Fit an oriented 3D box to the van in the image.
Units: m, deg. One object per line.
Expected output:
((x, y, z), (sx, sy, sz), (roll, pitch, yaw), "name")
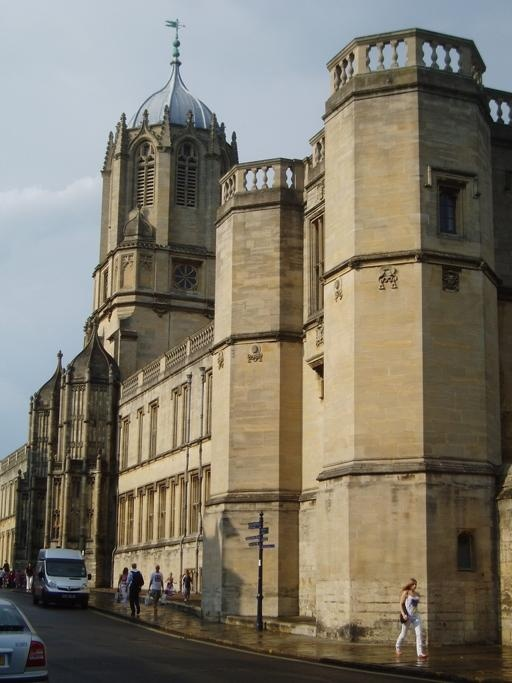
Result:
((-5.898, 7.033, 42.207), (1.425, 1.776, 3.312), (4, -6, -17), "van")

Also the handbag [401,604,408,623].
((2.594, 4.837, 24.558), (0.075, 0.227, 0.155), (1, 1, 11), "handbag")
